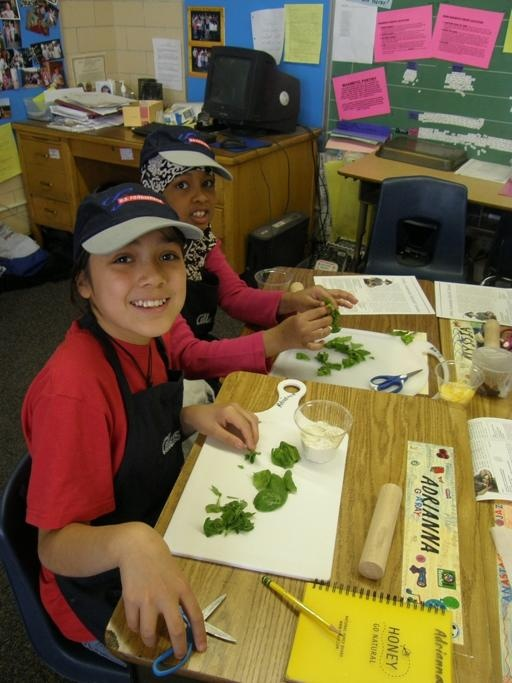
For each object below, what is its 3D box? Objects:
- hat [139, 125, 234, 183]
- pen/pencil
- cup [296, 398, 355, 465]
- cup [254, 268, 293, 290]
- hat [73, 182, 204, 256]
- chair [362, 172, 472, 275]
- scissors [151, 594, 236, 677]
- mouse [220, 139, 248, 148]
[{"bbox_3d":[-0.203,-0.512,1.384,0.225,0.111,0.159,21,20,18],"label":"hat"},{"bbox_3d":[0.052,0.302,0.580,0.007,0.008,0.073,-30,41,-33],"label":"pen/pencil"},{"bbox_3d":[0.109,0.148,0.845,0.094,0.066,0.090,3,31,-2],"label":"cup"},{"bbox_3d":[0.059,-0.187,1.575,0.091,0.061,0.089,1,36,-1],"label":"cup"},{"bbox_3d":[-0.178,-0.159,0.745,0.158,0.076,0.125,4,17,44],"label":"hat"},{"bbox_3d":[0.661,-0.464,2.302,0.462,0.484,0.423,7,58,9],"label":"chair"},{"bbox_3d":[-0.066,0.318,0.537,0.082,0.006,0.092,3,25,31],"label":"scissors"},{"bbox_3d":[-0.118,-1.030,2.674,0.079,0.033,0.105,-4,30,-10],"label":"mouse"}]
